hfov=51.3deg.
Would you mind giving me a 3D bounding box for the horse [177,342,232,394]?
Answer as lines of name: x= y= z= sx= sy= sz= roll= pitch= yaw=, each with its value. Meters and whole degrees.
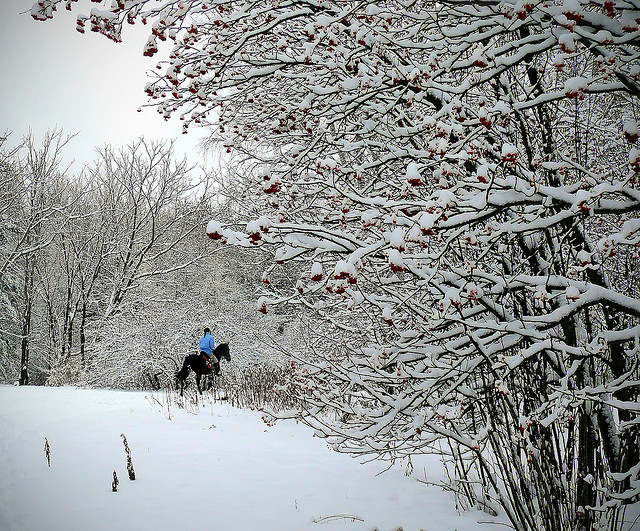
horse: x=-2.944 y=2.675 z=16.855 sx=1.198 sy=1.318 sz=3.227 roll=4 pitch=-1 yaw=-7
